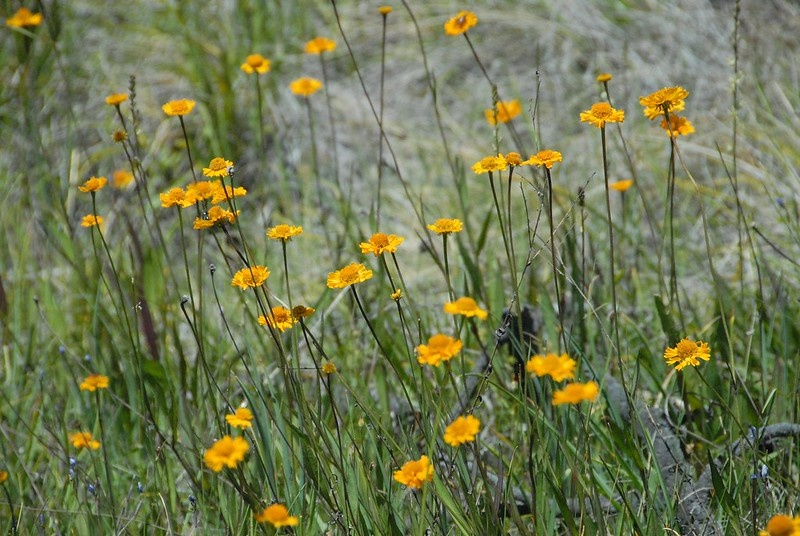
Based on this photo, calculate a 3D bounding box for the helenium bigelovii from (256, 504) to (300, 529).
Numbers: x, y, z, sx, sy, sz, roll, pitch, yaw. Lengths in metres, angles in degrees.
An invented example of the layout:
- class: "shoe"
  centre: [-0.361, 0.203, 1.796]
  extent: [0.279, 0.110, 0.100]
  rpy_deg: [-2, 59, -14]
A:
- class: "helenium bigelovii"
  centre: [-0.405, 0.821, 3.163]
  extent: [0.109, 0.046, 0.125]
  rpy_deg: [13, 9, 12]

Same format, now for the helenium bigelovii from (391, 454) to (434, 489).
- class: "helenium bigelovii"
  centre: [0.045, 0.672, 3.131]
  extent: [0.104, 0.061, 0.113]
  rpy_deg: [-24, 5, 44]
